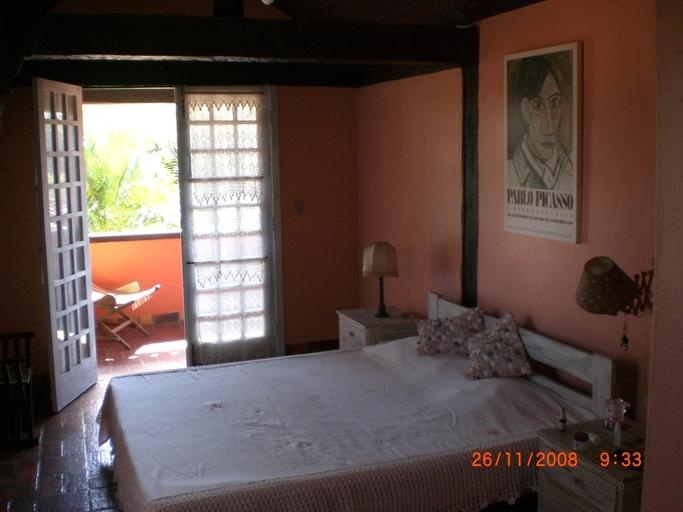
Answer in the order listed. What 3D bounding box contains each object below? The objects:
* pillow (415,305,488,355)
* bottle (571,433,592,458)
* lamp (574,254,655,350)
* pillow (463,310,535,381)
[{"bbox_3d":[0.744,0.531,3.730,0.331,0.086,0.360,-17,34,24],"label":"pillow"},{"bbox_3d":[1.109,0.861,2.517,0.082,0.076,0.083,6,11,41],"label":"bottle"},{"bbox_3d":[1.354,0.243,2.713,0.326,0.374,0.264,-3,15,27],"label":"lamp"},{"bbox_3d":[0.961,0.589,3.362,0.373,0.401,0.124,-30,-39,28],"label":"pillow"}]
